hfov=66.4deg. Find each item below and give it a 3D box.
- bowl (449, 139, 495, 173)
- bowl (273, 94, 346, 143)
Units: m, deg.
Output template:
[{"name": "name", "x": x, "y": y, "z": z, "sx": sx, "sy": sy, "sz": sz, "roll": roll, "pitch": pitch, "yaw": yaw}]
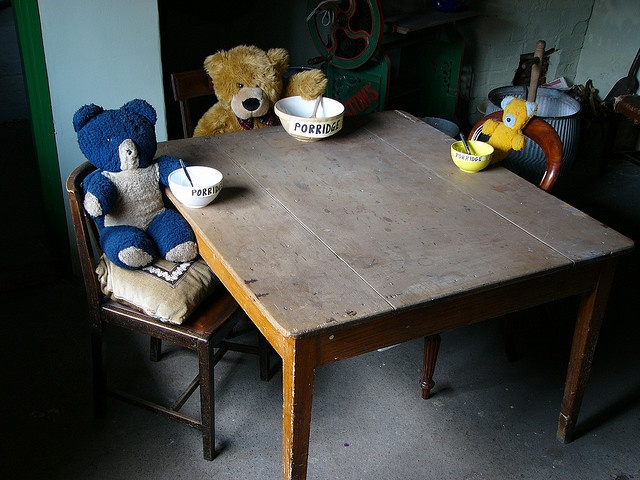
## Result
[{"name": "bowl", "x": 0.549, "y": -0.307, "z": 1.766, "sx": 0.125, "sy": 0.076, "sz": 0.127, "roll": 0, "pitch": 31, "yaw": 0}, {"name": "bowl", "x": -0.024, "y": -0.483, "z": 1.945, "sx": 0.231, "sy": 0.094, "sz": 0.224, "roll": 0, "pitch": 35, "yaw": 0}]
